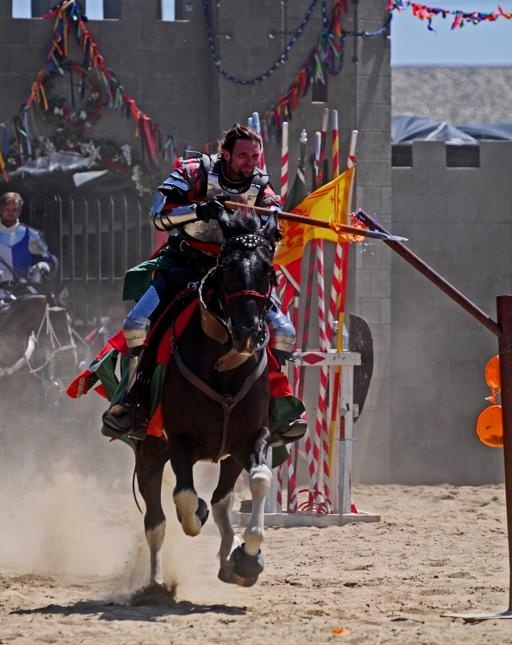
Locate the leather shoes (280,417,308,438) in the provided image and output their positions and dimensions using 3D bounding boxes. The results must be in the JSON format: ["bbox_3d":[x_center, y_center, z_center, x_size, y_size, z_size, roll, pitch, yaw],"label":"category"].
[{"bbox_3d":[0.294,0.864,13.416,0.124,0.141,0.215,-14,-10,-41],"label":"leather shoes"}]

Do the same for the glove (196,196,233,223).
[{"bbox_3d":[-0.317,-0.830,12.624,0.307,0.172,0.171,6,7,42],"label":"glove"}]

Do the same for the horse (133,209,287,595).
[{"bbox_3d":[-0.335,0.966,13.567,1.008,2.685,3.901,4,-16,-8],"label":"horse"}]

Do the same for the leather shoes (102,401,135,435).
[{"bbox_3d":[-1.050,0.763,13.103,0.241,0.263,0.247,1,5,-6],"label":"leather shoes"}]
